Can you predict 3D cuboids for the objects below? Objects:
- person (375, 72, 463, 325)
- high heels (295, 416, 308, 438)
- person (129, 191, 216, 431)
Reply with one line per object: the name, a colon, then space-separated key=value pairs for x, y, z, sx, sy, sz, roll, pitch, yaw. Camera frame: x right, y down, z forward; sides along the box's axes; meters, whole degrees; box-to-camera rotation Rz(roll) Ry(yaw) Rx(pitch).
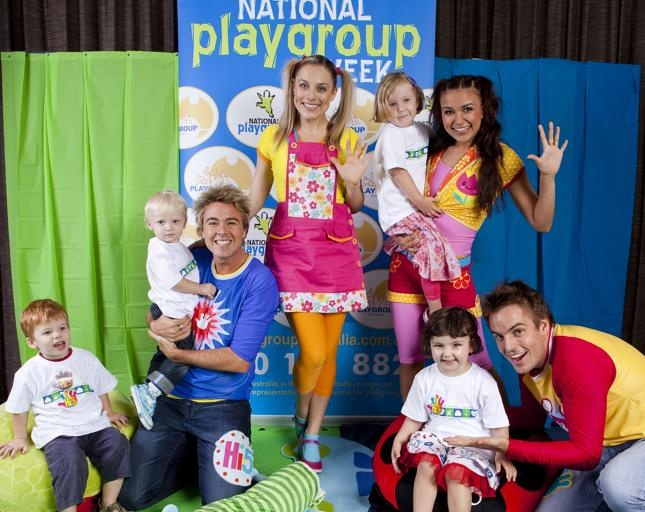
person: x=0.530 y=-0.308 z=3.017 sx=0.450 sy=1.225 sz=0.461 roll=-13 pitch=15 yaw=-25
high heels: x=-0.127 y=0.955 z=3.228 sx=0.046 sy=0.070 sz=0.147 roll=1 pitch=-8 yaw=-2
person: x=-0.740 y=0.273 z=2.909 sx=0.408 sy=1.162 sz=0.196 roll=-1 pitch=8 yaw=-21
